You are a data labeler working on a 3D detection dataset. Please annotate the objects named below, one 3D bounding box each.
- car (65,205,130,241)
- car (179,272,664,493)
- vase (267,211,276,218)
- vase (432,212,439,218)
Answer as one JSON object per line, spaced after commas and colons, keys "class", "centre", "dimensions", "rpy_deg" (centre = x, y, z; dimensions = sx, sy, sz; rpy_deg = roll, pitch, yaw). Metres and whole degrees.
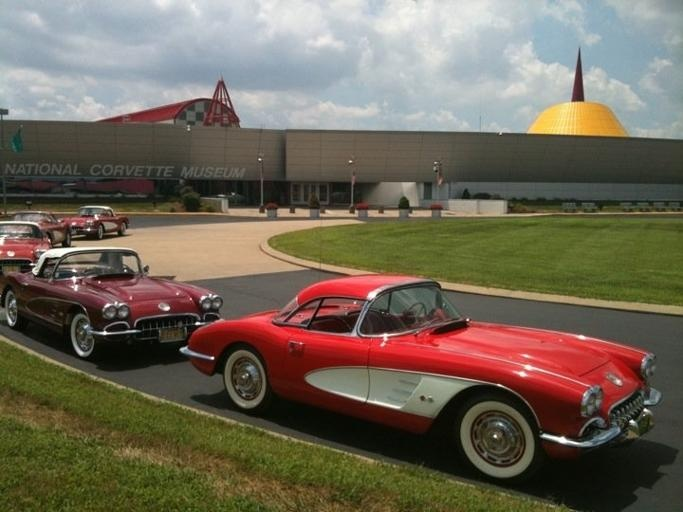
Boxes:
{"class": "car", "centre": [-11.621, -1.579, 27.210], "dimensions": [1.456, 1.500, 3.282], "rpy_deg": [3, 3, 8]}
{"class": "car", "centre": [0.935, 1.144, 6.392], "dimensions": [4.492, 1.744, 1.547], "rpy_deg": [5, 4, 32]}
{"class": "vase", "centre": [-5.489, -3.252, 44.973], "dimensions": [0.654, 0.743, 0.688], "rpy_deg": [-2, 5, -13]}
{"class": "vase", "centre": [7.312, -3.215, 44.606], "dimensions": [0.440, 0.367, 0.472], "rpy_deg": [0, 5, 12]}
